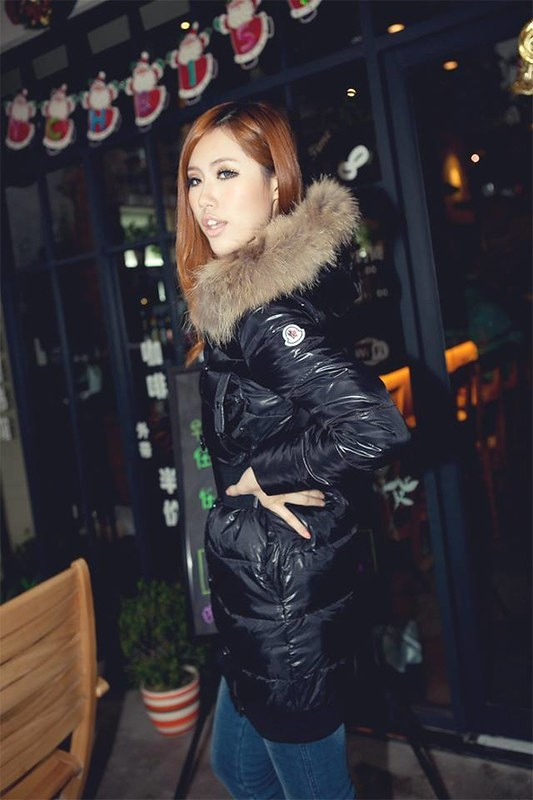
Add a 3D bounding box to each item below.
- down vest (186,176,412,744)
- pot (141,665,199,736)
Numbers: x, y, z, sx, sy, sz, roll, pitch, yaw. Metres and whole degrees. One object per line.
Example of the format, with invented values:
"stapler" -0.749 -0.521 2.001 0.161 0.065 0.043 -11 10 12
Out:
"down vest" 0.054 0.124 1.373 0.471 1.064 0.375 -7 -2 5
"pot" -0.322 1.016 2.162 0.186 0.145 0.195 -3 -7 0
